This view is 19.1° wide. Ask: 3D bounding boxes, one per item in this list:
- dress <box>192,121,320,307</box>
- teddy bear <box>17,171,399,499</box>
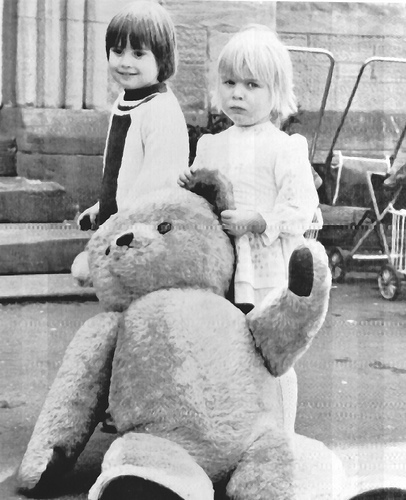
[{"bbox_3d":[0.161,-0.145,4.074,0.445,0.554,0.347,6,24,18],"label":"dress"},{"bbox_3d":[-0.054,0.305,3.618,0.946,0.996,0.570,2,14,-9],"label":"teddy bear"}]
